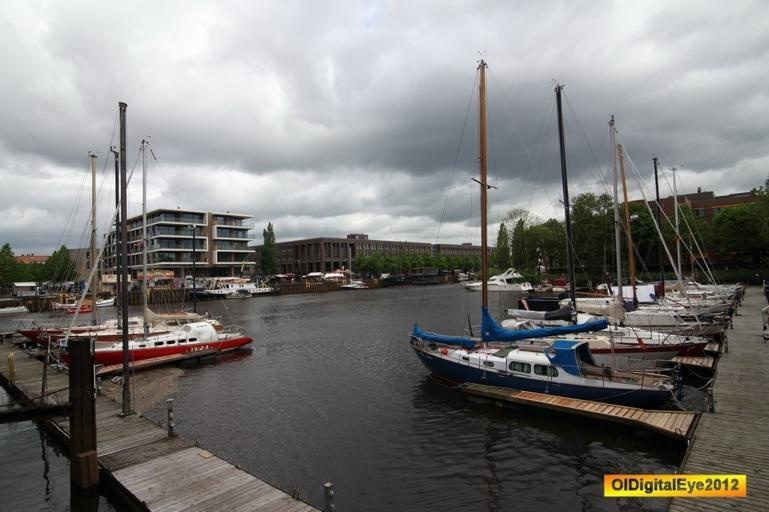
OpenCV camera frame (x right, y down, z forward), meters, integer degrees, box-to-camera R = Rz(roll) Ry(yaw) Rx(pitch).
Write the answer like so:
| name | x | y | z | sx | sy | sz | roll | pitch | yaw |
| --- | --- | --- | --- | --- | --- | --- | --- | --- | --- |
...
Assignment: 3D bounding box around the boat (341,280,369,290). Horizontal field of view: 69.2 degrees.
| name | x | y | z | sx | sy | sz | roll | pitch | yaw |
| --- | --- | --- | --- | --- | --- | --- | --- | --- | --- |
| boat | -7.387 | 7.669 | 146.129 | 2.422 | 2.474 | 8.069 | -3 | -7 | 21 |
